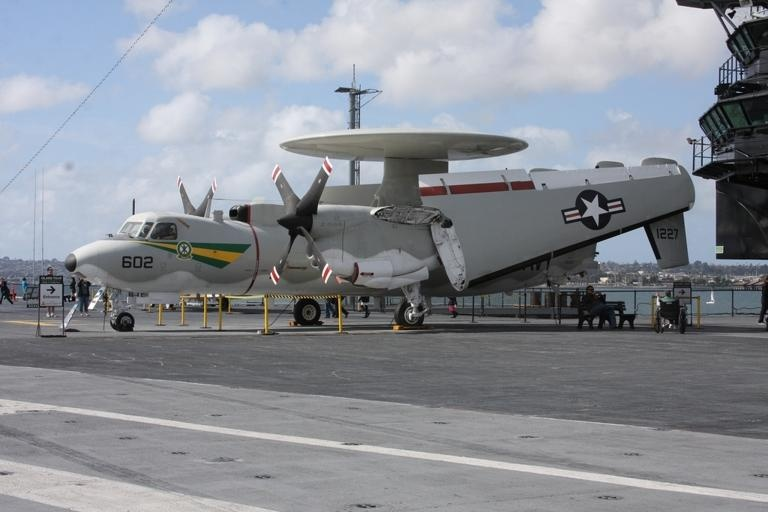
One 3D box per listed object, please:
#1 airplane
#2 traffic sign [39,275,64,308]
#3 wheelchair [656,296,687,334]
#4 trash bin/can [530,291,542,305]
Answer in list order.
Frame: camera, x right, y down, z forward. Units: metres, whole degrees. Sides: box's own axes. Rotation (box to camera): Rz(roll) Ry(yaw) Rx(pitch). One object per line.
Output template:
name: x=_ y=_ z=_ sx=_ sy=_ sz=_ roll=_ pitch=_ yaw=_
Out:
airplane: x=0.579 y=-0.858 z=34.120 sx=14.642 sy=3.423 sz=9.509 roll=0 pitch=-2 yaw=-25
traffic sign: x=-9.758 y=0.998 z=28.921 sx=0.767 sy=0.935 sz=0.723 roll=4 pitch=-8 yaw=-31
wheelchair: x=9.421 y=1.885 z=32.505 sx=0.974 sy=1.262 sz=0.837 roll=0 pitch=-7 yaw=-2
trash bin/can: x=7.093 y=1.936 z=46.212 sx=0.376 sy=0.603 sz=0.724 roll=2 pitch=3 yaw=43
